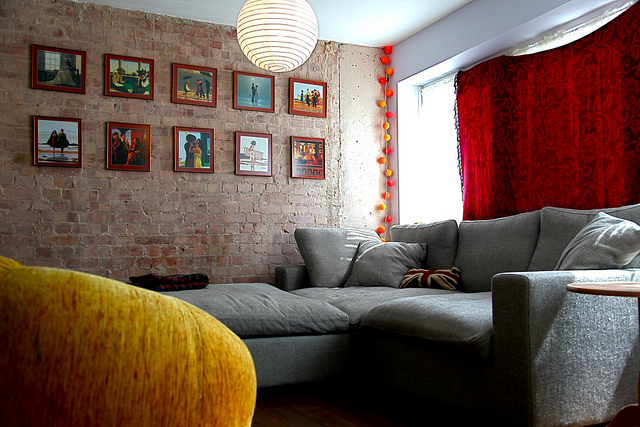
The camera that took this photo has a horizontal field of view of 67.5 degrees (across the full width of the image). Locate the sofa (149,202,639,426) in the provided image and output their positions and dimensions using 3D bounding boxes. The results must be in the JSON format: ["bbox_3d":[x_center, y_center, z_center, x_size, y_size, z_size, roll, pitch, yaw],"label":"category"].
[{"bbox_3d":[0.631,0.539,3.010,1.988,1.153,2.198,-1,1,-39],"label":"sofa"}]

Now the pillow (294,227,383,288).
[{"bbox_3d":[0.125,0.295,4.279,0.735,0.678,0.175,0,-21,-27],"label":"pillow"}]

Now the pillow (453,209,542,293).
[{"bbox_3d":[1.346,0.319,3.594,0.310,0.610,0.885,-5,-2,-25],"label":"pillow"}]

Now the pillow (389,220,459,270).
[{"bbox_3d":[0.844,0.251,4.251,0.203,0.385,0.582,-21,10,-36],"label":"pillow"}]
